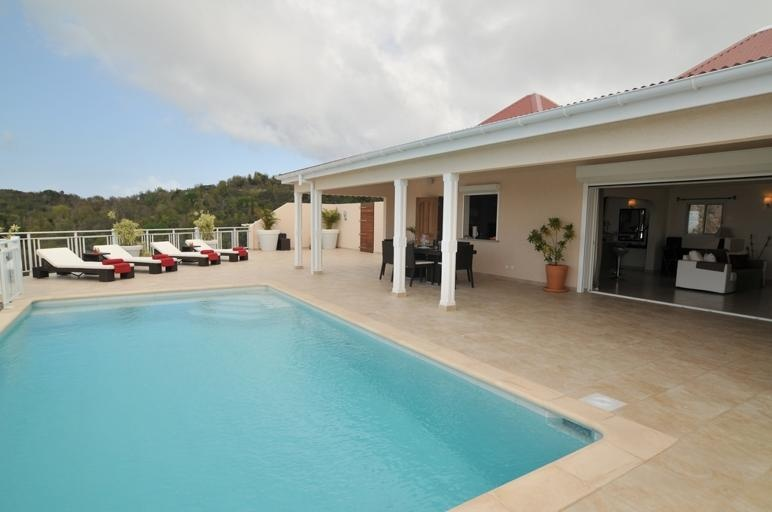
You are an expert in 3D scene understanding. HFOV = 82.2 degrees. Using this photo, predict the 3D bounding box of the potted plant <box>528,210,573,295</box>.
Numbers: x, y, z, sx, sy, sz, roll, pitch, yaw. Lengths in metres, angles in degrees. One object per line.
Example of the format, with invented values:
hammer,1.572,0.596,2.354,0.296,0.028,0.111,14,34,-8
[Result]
potted plant,4.304,-0.074,11.627,1.114,1.962,0.890,4,5,36

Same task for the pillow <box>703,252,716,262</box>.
pillow,8.640,0.047,11.921,0.271,0.308,0.102,-2,-29,42

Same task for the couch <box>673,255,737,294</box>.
couch,8.502,0.449,11.871,0.998,0.706,0.957,-2,3,-40

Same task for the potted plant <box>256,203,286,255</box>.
potted plant,-5.550,-1.210,20.723,1.666,2.549,1.651,-1,6,-15

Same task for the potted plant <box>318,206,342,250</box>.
potted plant,-2.788,-1.407,22.090,0.830,2.046,1.247,3,4,19
